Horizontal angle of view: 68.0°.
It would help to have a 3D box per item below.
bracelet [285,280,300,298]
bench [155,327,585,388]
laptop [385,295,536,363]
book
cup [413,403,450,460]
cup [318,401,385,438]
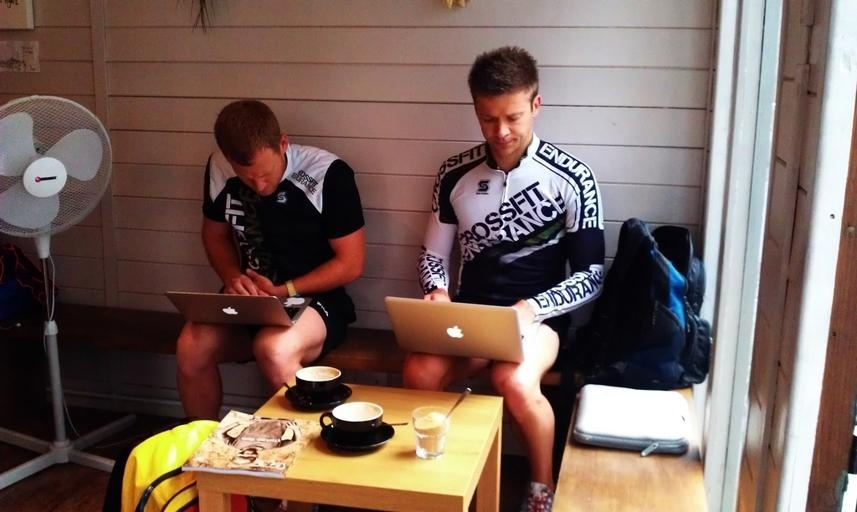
[{"bbox_3d":[-0.688,0.163,3.194,0.059,0.082,0.090,-17,-30,-3],"label":"bracelet"},{"bbox_3d":[-0.289,0.524,3.349,1.914,0.063,0.333,6,41,13],"label":"bench"},{"bbox_3d":[0.109,0.310,2.712,0.473,0.301,0.333,5,44,21],"label":"laptop"},{"bbox_3d":[-0.619,0.661,2.231,0.228,0.033,0.245,6,20,12],"label":"book"},{"bbox_3d":[-0.007,0.634,2.238,0.133,0.143,0.132,-1,-12,0],"label":"cup"},{"bbox_3d":[-0.271,0.576,2.283,0.153,0.058,0.118,-5,18,-7],"label":"cup"}]
